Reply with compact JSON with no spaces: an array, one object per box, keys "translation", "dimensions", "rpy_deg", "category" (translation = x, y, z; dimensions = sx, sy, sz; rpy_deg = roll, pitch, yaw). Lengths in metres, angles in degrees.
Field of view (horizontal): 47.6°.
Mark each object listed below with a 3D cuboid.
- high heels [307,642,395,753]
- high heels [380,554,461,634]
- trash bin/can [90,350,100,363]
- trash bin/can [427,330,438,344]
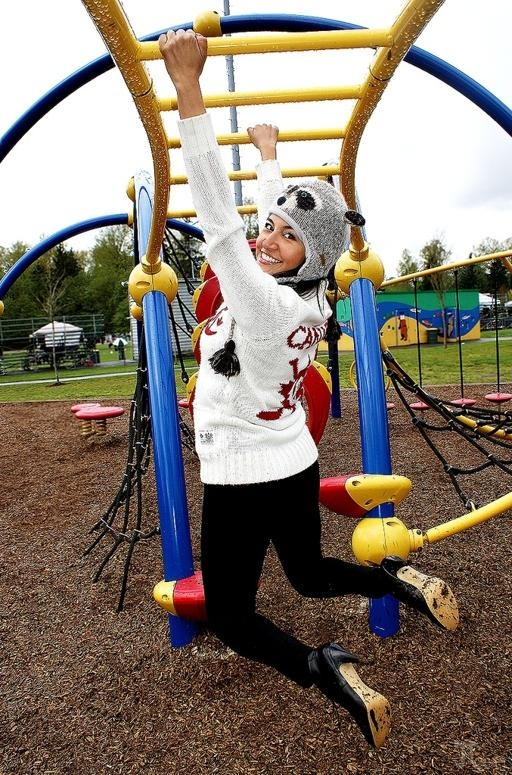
[{"translation":[0.208,0.670,1.328],"dimensions":[0.095,0.267,0.131],"rpy_deg":[-42,-16,20],"category":"high heels"},{"translation":[0.410,0.540,1.541],"dimensions":[0.221,0.098,0.130],"rpy_deg":[39,50,14],"category":"high heels"},{"translation":[-7.030,-1.363,25.457],"dimensions":[0.585,0.662,0.597],"rpy_deg":[-1,-2,-17],"category":"trash bin/can"},{"translation":[6.804,-1.990,22.472],"dimensions":[0.518,0.587,0.499],"rpy_deg":[0,-1,-6],"category":"trash bin/can"}]
